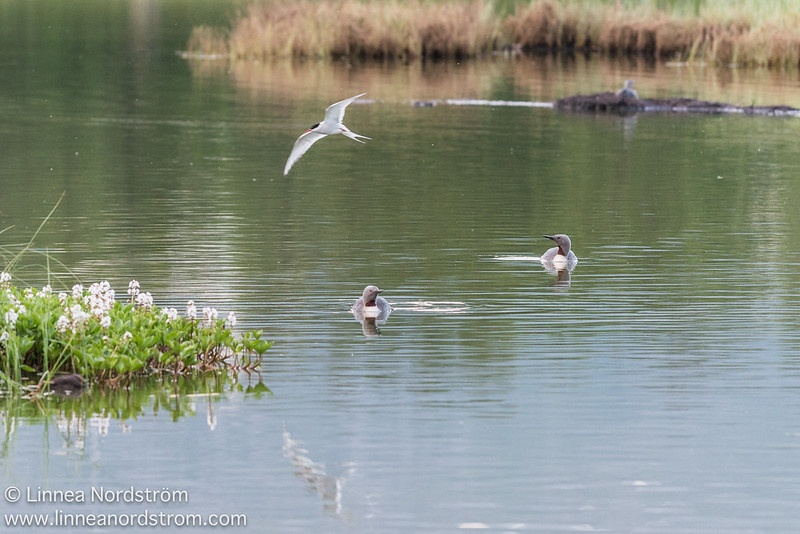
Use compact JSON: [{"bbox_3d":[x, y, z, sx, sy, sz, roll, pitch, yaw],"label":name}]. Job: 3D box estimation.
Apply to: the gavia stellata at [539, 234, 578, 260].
[{"bbox_3d":[3.067,-0.395,26.401,0.595,0.546,0.502,-1,1,28],"label":"gavia stellata"}]
